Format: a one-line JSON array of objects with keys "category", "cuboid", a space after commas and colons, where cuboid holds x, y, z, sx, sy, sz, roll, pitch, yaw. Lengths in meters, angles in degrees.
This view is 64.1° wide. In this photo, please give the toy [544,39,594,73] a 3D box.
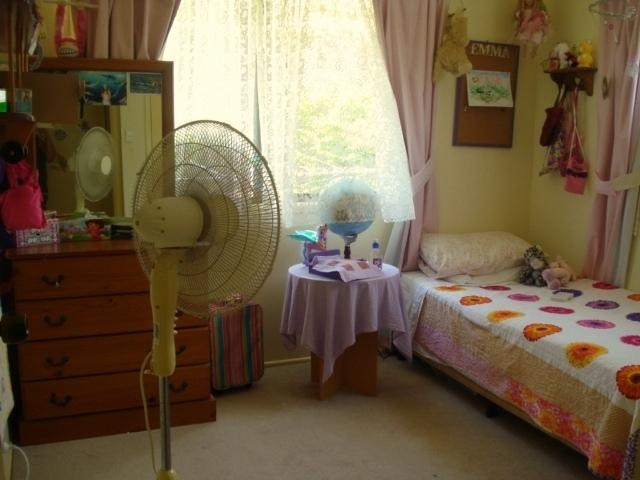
[{"category": "toy", "cuboid": [1.739, -1.272, 3.564, 0.322, 0.195, 0.190, 7, 16, 26]}]

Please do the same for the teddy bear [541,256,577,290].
[{"category": "teddy bear", "cuboid": [1.605, 0.221, 3.420, 0.070, 0.140, 0.214, -7, 5, -17]}]

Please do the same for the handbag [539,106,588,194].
[{"category": "handbag", "cuboid": [1.760, -0.641, 3.651, 0.159, 0.579, 0.369, -5, 14, -20]}]

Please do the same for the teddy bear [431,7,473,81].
[{"category": "teddy bear", "cuboid": [0.935, -1.363, 3.602, 0.362, 0.439, 0.133, 9, 6, 4]}]

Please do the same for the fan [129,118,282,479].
[{"category": "fan", "cuboid": [-0.381, 0.045, 1.680, 0.488, 0.846, 0.305, -2, 13, -9]}]

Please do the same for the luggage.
[{"category": "luggage", "cuboid": [-0.571, 0.637, 3.345, 0.367, 0.530, 0.305, -6, 19, -21]}]

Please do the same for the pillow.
[{"category": "pillow", "cuboid": [1.087, 0.079, 3.591, 0.571, 0.212, 0.381, -3, 35, -17]}]

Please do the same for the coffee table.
[{"category": "coffee table", "cuboid": [0.123, 0.502, 3.332, 0.711, 0.776, 0.747, 0, 5, -3]}]
